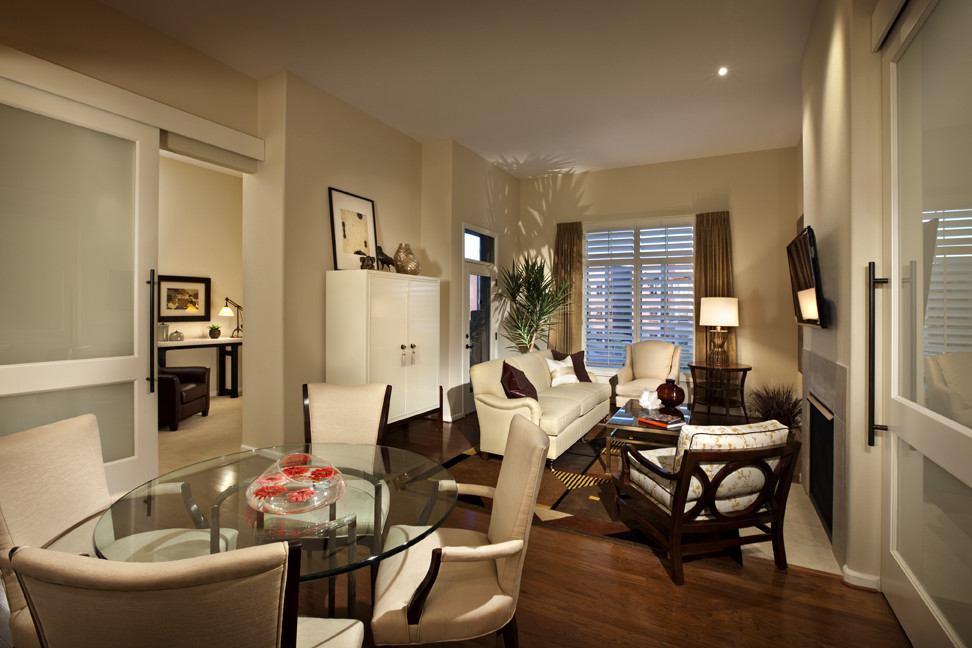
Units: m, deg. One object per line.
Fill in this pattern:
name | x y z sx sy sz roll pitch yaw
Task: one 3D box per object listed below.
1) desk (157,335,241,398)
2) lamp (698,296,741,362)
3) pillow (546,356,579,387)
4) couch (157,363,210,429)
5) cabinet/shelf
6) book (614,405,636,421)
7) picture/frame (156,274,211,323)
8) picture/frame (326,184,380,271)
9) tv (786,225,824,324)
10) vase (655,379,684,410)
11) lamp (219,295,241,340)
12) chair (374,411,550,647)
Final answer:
desk | -3.808 0.483 8.403 0.695 0.980 1.395 -1 -1 29
lamp | 2.886 0.062 7.751 0.392 0.840 0.577 -2 3 23
pillow | 0.901 0.509 7.336 0.308 0.315 0.092 0 -24 -25
couch | -3.384 0.815 7.012 0.430 0.532 0.774 1 1 6
cabinet/shelf | -1.096 0.253 6.891 0.587 1.595 1.639 2 1 20
book | 1.313 0.841 6.003 0.204 0.049 0.529 -3 2 11
picture/frame | -4.020 -0.347 8.283 0.050 0.650 0.681 -2 -2 35
picture/frame | -1.360 -0.989 6.587 0.193 0.807 0.707 -2 3 22
tv | 2.635 -0.352 5.185 0.075 0.723 0.974 -7 -2 16
vase | 1.786 0.637 6.133 0.285 0.327 0.283 -4 5 -38
lamp | -3.680 -0.113 9.014 0.150 0.398 0.405 -2 2 13
chair | -0.122 1.194 4.275 1.204 1.805 1.200 3 -4 -2
